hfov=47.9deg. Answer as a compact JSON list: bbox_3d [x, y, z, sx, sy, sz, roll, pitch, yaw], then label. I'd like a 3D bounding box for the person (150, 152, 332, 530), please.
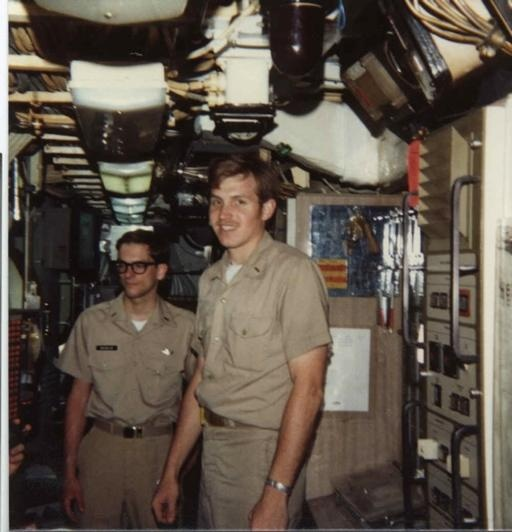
[{"bbox_3d":[-0.030,0.287,2.240,0.358,1.460,0.773,3,-3,-39],"label":"person"}]
